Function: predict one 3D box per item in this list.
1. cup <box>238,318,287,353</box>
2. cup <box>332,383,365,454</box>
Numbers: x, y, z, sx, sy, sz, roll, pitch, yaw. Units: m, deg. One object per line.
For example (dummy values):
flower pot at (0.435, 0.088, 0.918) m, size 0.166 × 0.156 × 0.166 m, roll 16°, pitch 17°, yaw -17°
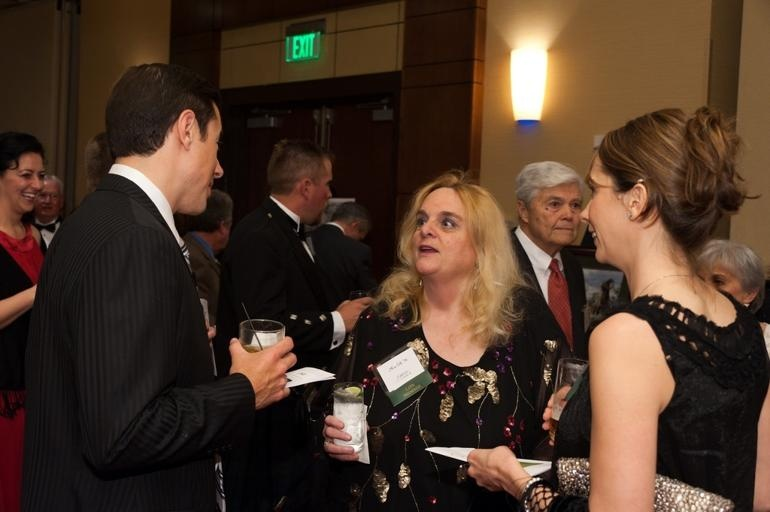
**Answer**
cup at (-0.472, 0.305, 2.589) m, size 0.150 × 0.114 × 0.157 m, roll 1°, pitch 4°, yaw 0°
cup at (-0.141, 0.653, 2.686) m, size 0.124 × 0.277 × 0.066 m, roll 1°, pitch 4°, yaw -6°
